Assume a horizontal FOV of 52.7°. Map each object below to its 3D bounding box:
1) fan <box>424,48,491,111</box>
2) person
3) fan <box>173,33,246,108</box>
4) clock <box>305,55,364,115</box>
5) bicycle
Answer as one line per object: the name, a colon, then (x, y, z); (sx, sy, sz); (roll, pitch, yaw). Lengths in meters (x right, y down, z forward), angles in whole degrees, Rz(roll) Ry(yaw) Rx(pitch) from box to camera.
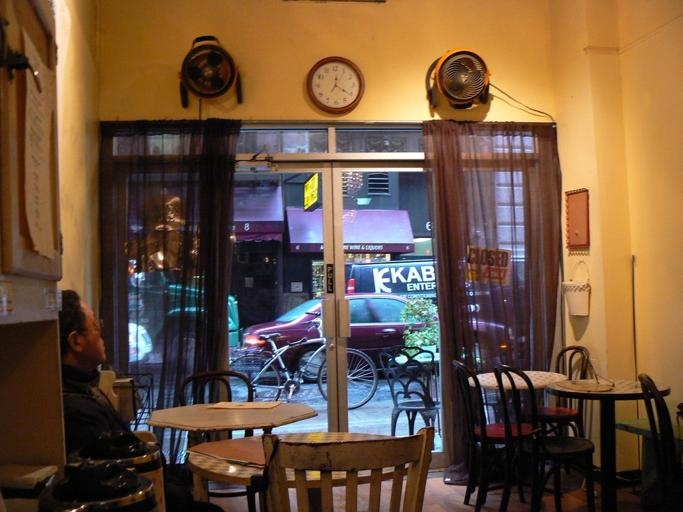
fan: (0.948, -1.388, 5.490); (0.405, 0.479, 0.159); (4, 13, -4)
person: (-1.059, 0.663, 3.279); (0.514, 1.021, 0.799); (2, -6, -40)
fan: (-0.999, -1.404, 5.223); (0.411, 0.564, 0.200); (-8, 9, -5)
clock: (-0.038, -1.342, 5.453); (0.429, 0.437, 0.103); (-1, -4, -9)
bicycle: (-0.294, 0.871, 5.475); (1.184, 0.738, 0.540); (-1, -1, -3)
